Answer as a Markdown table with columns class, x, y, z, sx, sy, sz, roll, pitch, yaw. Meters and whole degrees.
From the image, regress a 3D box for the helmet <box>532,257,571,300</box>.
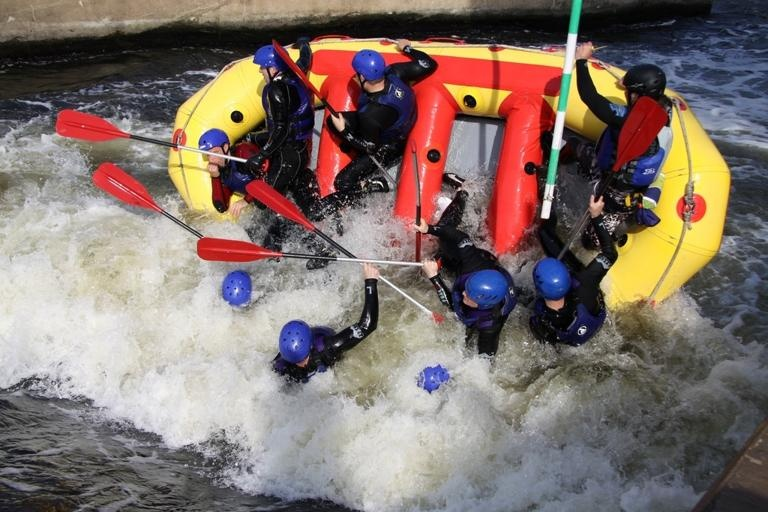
| class | x | y | z | sx | sy | sz | roll | pitch | yaw |
| --- | --- | --- | --- | --- | --- | --- | --- | --- | --- |
| helmet | 1.970 | 0.295 | 8.710 | 0.376 | 0.388 | 0.501 | -6 | 46 | 4 |

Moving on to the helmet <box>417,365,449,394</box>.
| class | x | y | z | sx | sy | sz | roll | pitch | yaw |
| --- | --- | --- | --- | --- | --- | --- | --- | --- | --- |
| helmet | 0.603 | 1.488 | 9.032 | 0.386 | 0.218 | 0.246 | -21 | 43 | -15 |

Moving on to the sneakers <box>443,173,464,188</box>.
| class | x | y | z | sx | sy | sz | roll | pitch | yaw |
| --- | --- | --- | --- | --- | --- | --- | --- | --- | --- |
| sneakers | 0.982 | -1.044 | 10.361 | 0.295 | 0.109 | 0.174 | 28 | 73 | 23 |

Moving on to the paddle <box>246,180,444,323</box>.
| class | x | y | z | sx | sy | sz | roll | pitch | yaw |
| --- | --- | --- | --- | --- | --- | --- | --- | --- | --- |
| paddle | -0.493 | 0.001 | 9.874 | 3.052 | 0.127 | 0.292 | 36 | 86 | 4 |

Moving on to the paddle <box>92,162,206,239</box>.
| class | x | y | z | sx | sy | sz | roll | pitch | yaw |
| --- | --- | --- | --- | --- | --- | --- | --- | --- | --- |
| paddle | -3.258 | -0.722 | 10.284 | 1.852 | 0.139 | 0.426 | 34 | 80 | 2 |

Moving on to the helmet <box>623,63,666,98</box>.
| class | x | y | z | sx | sy | sz | roll | pitch | yaw |
| --- | --- | --- | --- | --- | --- | --- | --- | --- | --- |
| helmet | 3.124 | -2.075 | 8.736 | 0.459 | 0.369 | 0.342 | -8 | 50 | 33 |
